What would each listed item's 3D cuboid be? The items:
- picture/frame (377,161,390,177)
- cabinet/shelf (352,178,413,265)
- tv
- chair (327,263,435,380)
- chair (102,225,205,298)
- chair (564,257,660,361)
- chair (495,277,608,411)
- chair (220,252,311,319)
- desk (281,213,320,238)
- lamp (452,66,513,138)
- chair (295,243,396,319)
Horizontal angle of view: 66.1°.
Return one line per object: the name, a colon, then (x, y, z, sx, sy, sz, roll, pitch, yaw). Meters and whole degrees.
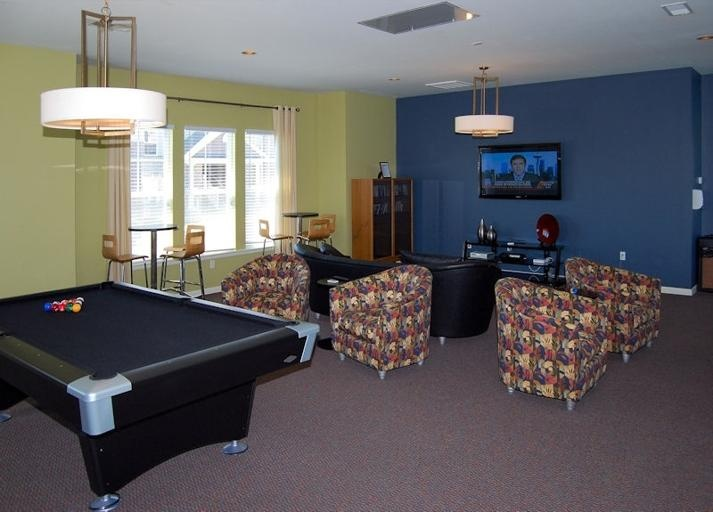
picture/frame: (0.497, -1.627, 10.260, 0.174, 0.318, 0.312, -5, -1, 43)
cabinet/shelf: (0.410, -0.636, 9.655, 0.550, 1.792, 1.493, 2, 4, 33)
tv: (2.786, -1.439, 9.156, 0.984, 0.727, 0.108, 4, 8, 35)
chair: (0.279, 0.616, 5.648, 0.758, 0.993, 0.799, -10, 16, -42)
chair: (-2.746, -0.002, 7.370, 1.101, 0.826, 1.148, 4, 5, 30)
chair: (2.814, 0.504, 6.088, 1.091, 1.228, 0.962, 0, 3, 37)
chair: (1.814, 0.722, 5.230, 1.000, 1.100, 1.015, 1, 6, 31)
chair: (-0.977, 0.355, 6.315, 0.935, 0.850, 0.797, 2, 2, 18)
desk: (-0.956, -0.575, 9.183, 0.495, 0.563, 0.502, 5, 7, 42)
lamp: (1.744, -2.120, 7.419, 0.759, 0.895, 0.779, 4, 13, 30)
chair: (-0.076, 0.153, 6.815, 0.892, 0.716, 1.114, -7, 10, -34)
